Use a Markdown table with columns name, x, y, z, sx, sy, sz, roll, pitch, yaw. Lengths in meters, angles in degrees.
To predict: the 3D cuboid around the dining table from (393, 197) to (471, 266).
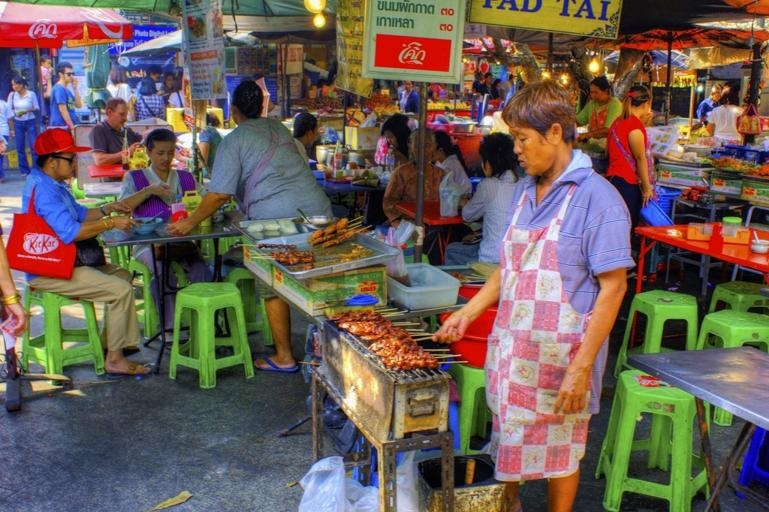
| name | x | y | z | sx | sy | sz | roll | pitch | yaw |
| --- | --- | --- | --- | --- | --- | --- | --- | --- | --- |
| dining table | 0.673 | -0.210 | 7.502 | 0.906 | 0.781 | 0.851 | -8 | 22 | -22 |

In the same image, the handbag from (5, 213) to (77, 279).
| name | x | y | z | sx | sy | sz | roll | pitch | yaw |
| --- | --- | --- | --- | --- | --- | --- | --- | --- | --- |
| handbag | -3.135 | -0.093 | 5.579 | 0.599 | 0.552 | 0.162 | 9 | 2 | -4 |

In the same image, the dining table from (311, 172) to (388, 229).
| name | x | y | z | sx | sy | sz | roll | pitch | yaw |
| --- | --- | --- | --- | --- | --- | --- | --- | --- | --- |
| dining table | -0.504 | -0.856 | 9.442 | 1.022 | 0.239 | 1.018 | -2 | 19 | -12 |

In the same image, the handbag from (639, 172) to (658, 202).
| name | x | y | z | sx | sy | sz | roll | pitch | yaw |
| --- | --- | --- | --- | --- | --- | --- | --- | --- | --- |
| handbag | 3.361 | -0.877 | 7.856 | 0.156 | 0.328 | 0.250 | 2 | 11 | 2 |

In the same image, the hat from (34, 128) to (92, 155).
| name | x | y | z | sx | sy | sz | roll | pitch | yaw |
| --- | --- | --- | --- | --- | --- | --- | --- | --- | --- |
| hat | -2.999 | -1.034 | 5.678 | 0.463 | 0.165 | 0.279 | -1 | 20 | -28 |

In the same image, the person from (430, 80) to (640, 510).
| name | x | y | z | sx | sy | sz | roll | pitch | yaw |
| --- | --- | --- | --- | --- | --- | --- | --- | --- | --- |
| person | 1.020 | 0.299 | 3.678 | 0.777 | 2.610 | 0.590 | 1 | 15 | 9 |

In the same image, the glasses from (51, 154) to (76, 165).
| name | x | y | z | sx | sy | sz | roll | pitch | yaw |
| --- | --- | --- | --- | --- | --- | --- | --- | --- | --- |
| glasses | -2.992 | -0.908 | 5.725 | 0.097 | 0.104 | 0.215 | 3 | 14 | 16 |

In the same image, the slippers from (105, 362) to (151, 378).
| name | x | y | z | sx | sy | sz | roll | pitch | yaw |
| --- | --- | --- | --- | --- | --- | --- | --- | --- | --- |
| slippers | -2.531 | 1.127 | 6.040 | 0.323 | 0.082 | 0.165 | -2 | 19 | -11 |

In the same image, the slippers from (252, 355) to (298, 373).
| name | x | y | z | sx | sy | sz | roll | pitch | yaw |
| --- | --- | --- | --- | --- | --- | --- | --- | --- | --- |
| slippers | -1.112 | 1.075 | 6.179 | 0.374 | 0.079 | 0.161 | 4 | 11 | 5 |
